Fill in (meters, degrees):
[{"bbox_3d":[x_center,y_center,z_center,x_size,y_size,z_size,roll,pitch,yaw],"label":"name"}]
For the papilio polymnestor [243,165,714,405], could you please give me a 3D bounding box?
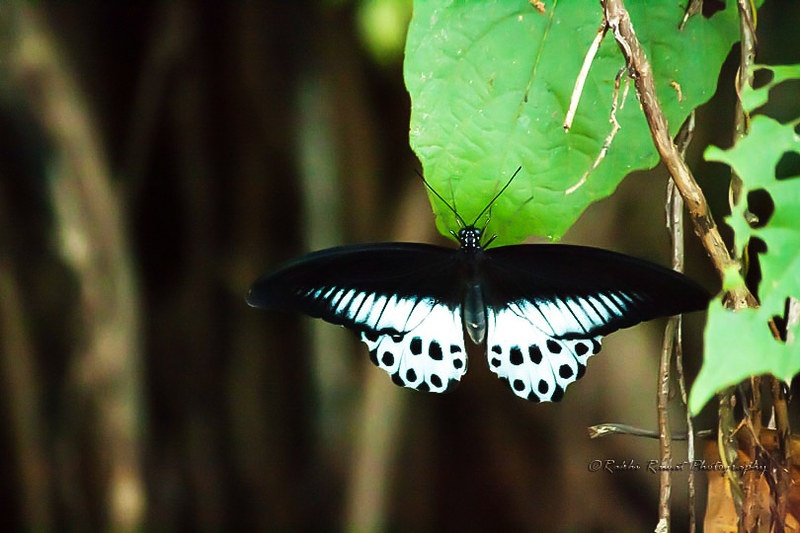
[{"bbox_3d":[0.117,0.078,1.770,0.672,0.233,0.161,2,-8,9],"label":"papilio polymnestor"}]
